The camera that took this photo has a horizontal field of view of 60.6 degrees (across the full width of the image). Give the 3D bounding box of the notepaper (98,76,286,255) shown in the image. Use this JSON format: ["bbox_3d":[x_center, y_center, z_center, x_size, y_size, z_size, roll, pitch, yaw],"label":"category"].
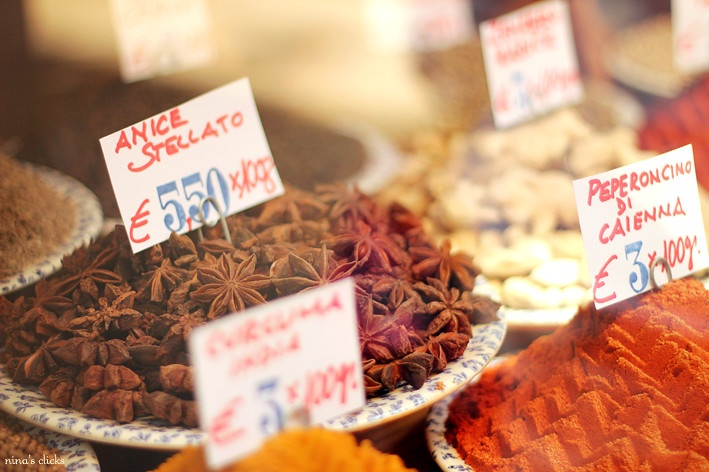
[{"bbox_3d":[-0.328,-0.146,1.215,0.309,0.221,0.015,-25,18,-16],"label":"notepaper"}]

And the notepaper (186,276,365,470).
[{"bbox_3d":[-0.124,0.231,0.957,0.269,0.218,0.027,-15,18,-21],"label":"notepaper"}]
